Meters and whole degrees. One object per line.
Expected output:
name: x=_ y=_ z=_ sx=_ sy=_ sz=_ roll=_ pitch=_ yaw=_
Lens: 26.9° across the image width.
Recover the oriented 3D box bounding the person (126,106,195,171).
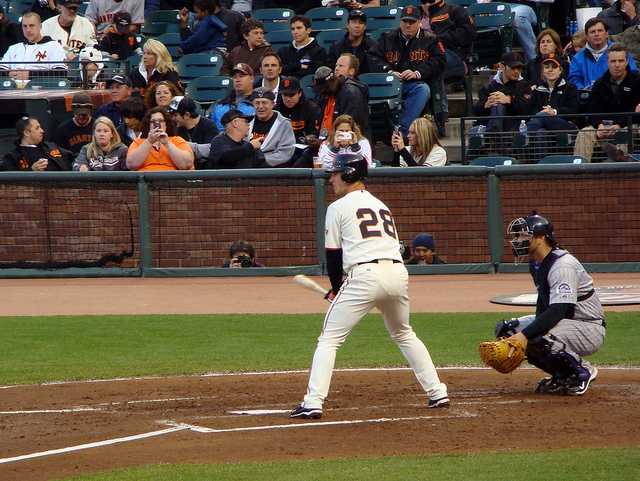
person: x=-2.316 y=-1.255 z=19.379 sx=0.884 sy=1.326 sz=0.733 roll=-3 pitch=3 yaw=-5

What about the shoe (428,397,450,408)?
shoe: x=1.298 y=1.746 z=14.474 sx=0.094 sy=0.098 sz=0.216 roll=-4 pitch=1 yaw=-41

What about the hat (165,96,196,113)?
hat: x=-2.013 y=-2.038 z=19.514 sx=0.365 sy=0.191 sz=0.247 roll=4 pitch=18 yaw=4

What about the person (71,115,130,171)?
person: x=-3.149 y=-1.372 z=19.514 sx=1.006 sy=0.808 sz=0.596 roll=1 pitch=3 yaw=8

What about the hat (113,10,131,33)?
hat: x=-3.413 y=-3.844 z=23.291 sx=0.257 sy=0.371 sz=0.219 roll=3 pitch=-40 yaw=-32

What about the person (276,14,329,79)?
person: x=-0.336 y=-3.086 z=21.774 sx=0.958 sy=1.195 sz=0.723 roll=4 pitch=7 yaw=14

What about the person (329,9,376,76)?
person: x=0.534 y=-3.251 z=21.584 sx=1.040 sy=1.203 sz=0.976 roll=3 pitch=12 yaw=6

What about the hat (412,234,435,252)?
hat: x=1.466 y=-0.001 z=18.819 sx=0.233 sy=0.178 sz=0.230 roll=0 pitch=-2 yaw=11

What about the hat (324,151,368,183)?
hat: x=0.297 y=-0.817 z=14.560 sx=0.518 sy=0.324 sz=0.419 roll=6 pitch=7 yaw=23

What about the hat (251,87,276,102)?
hat: x=-0.773 y=-2.141 z=19.243 sx=0.252 sy=0.112 sz=0.297 roll=2 pitch=3 yaw=13

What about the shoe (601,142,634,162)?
shoe: x=4.262 y=-1.290 z=19.062 sx=0.473 sy=0.308 sz=0.250 roll=-7 pitch=3 yaw=-4

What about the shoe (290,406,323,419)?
shoe: x=-0.125 y=1.817 z=14.262 sx=0.337 sy=0.158 sz=0.124 roll=4 pitch=-3 yaw=9

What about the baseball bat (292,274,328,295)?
baseball bat: x=-0.122 y=0.555 z=17.073 sx=0.463 sy=0.126 sz=0.117 roll=30 pitch=-19 yaw=6

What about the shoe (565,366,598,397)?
shoe: x=2.923 y=1.557 z=14.871 sx=0.394 sy=0.203 sz=0.119 roll=-7 pitch=3 yaw=-16

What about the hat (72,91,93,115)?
hat: x=-3.588 y=-2.123 z=20.183 sx=0.245 sy=0.221 sz=0.365 roll=0 pitch=21 yaw=-14

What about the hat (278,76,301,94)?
hat: x=-0.415 y=-2.304 z=19.602 sx=0.248 sy=0.206 sz=0.345 roll=1 pitch=6 yaw=13

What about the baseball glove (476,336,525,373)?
baseball glove: x=2.098 y=1.253 z=14.800 sx=0.657 sy=0.374 sz=0.515 roll=-8 pitch=-8 yaw=-6

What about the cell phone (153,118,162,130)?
cell phone: x=-2.271 y=-1.685 z=18.864 sx=0.117 sy=0.119 sz=0.083 roll=-7 pitch=3 yaw=-7

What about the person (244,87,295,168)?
person: x=-0.868 y=-1.577 z=19.442 sx=1.011 sy=1.349 sz=0.887 roll=-2 pitch=5 yaw=-14

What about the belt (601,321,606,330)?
belt: x=3.173 y=0.930 z=14.928 sx=0.050 sy=0.054 sz=0.056 roll=2 pitch=13 yaw=8

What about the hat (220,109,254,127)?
hat: x=-1.243 y=-1.880 z=20.001 sx=0.406 sy=0.164 sz=0.252 roll=-10 pitch=1 yaw=-8

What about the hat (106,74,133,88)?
hat: x=-3.011 y=-2.485 z=20.469 sx=0.252 sy=0.180 sz=0.385 roll=-1 pitch=-3 yaw=31

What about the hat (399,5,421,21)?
hat: x=1.438 y=-3.579 z=20.911 sx=0.259 sy=0.176 sz=0.371 roll=-4 pitch=4 yaw=45

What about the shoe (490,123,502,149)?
shoe: x=2.639 y=-1.614 z=20.128 sx=0.091 sy=0.320 sz=0.234 roll=7 pitch=1 yaw=-9

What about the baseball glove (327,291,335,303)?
baseball glove: x=0.128 y=0.594 z=14.510 sx=0.128 sy=0.121 sz=0.292 roll=0 pitch=-4 yaw=1
